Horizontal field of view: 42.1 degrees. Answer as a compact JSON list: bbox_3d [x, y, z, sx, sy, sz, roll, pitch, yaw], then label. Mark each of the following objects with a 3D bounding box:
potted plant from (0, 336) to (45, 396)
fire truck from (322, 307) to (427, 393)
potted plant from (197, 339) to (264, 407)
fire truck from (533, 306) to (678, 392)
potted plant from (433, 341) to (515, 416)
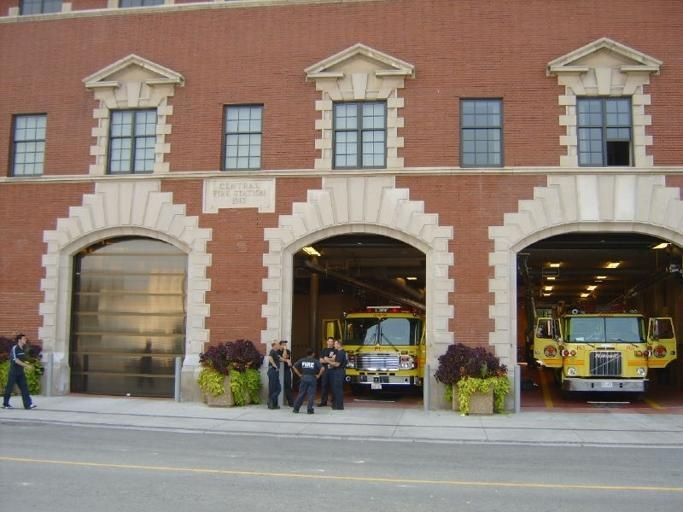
[{"bbox_3d":[-11.491,3.941,31.863,2.125,1.937,1.084,6,-17,-31],"label":"potted plant"},{"bbox_3d":[1.511,3.490,33.498,2.851,1.965,4.222,-2,-8,14],"label":"fire truck"},{"bbox_3d":[-3.719,4.088,31.299,3.164,2.364,2.244,1,-8,-4],"label":"potted plant"},{"bbox_3d":[9.345,3.413,31.777,3.421,1.762,4.239,-1,-11,10],"label":"fire truck"},{"bbox_3d":[4.785,4.225,30.357,3.279,2.432,2.240,1,-11,-6],"label":"potted plant"}]
